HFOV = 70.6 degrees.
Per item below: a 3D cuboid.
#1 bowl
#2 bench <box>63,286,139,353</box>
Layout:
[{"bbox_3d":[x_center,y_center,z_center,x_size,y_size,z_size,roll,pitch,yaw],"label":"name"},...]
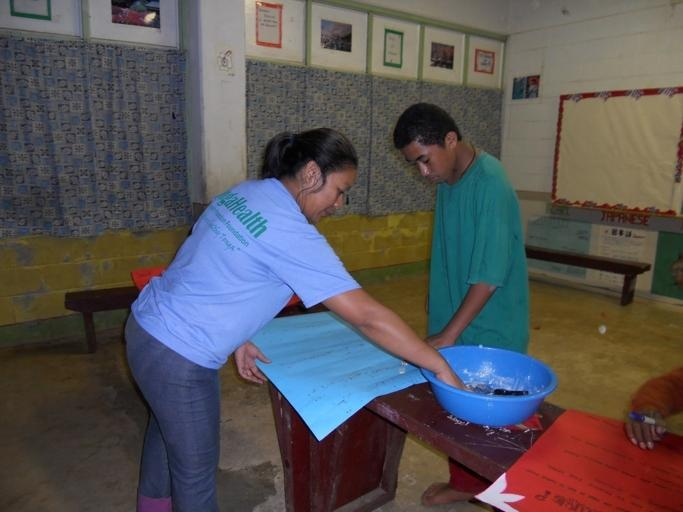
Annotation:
[{"bbox_3d":[0.594,0.521,1.928,0.364,0.143,0.362,2,11,0],"label":"bowl"},{"bbox_3d":[-2.131,0.549,4.191,0.493,0.446,0.261,-5,33,-21],"label":"bench"}]
